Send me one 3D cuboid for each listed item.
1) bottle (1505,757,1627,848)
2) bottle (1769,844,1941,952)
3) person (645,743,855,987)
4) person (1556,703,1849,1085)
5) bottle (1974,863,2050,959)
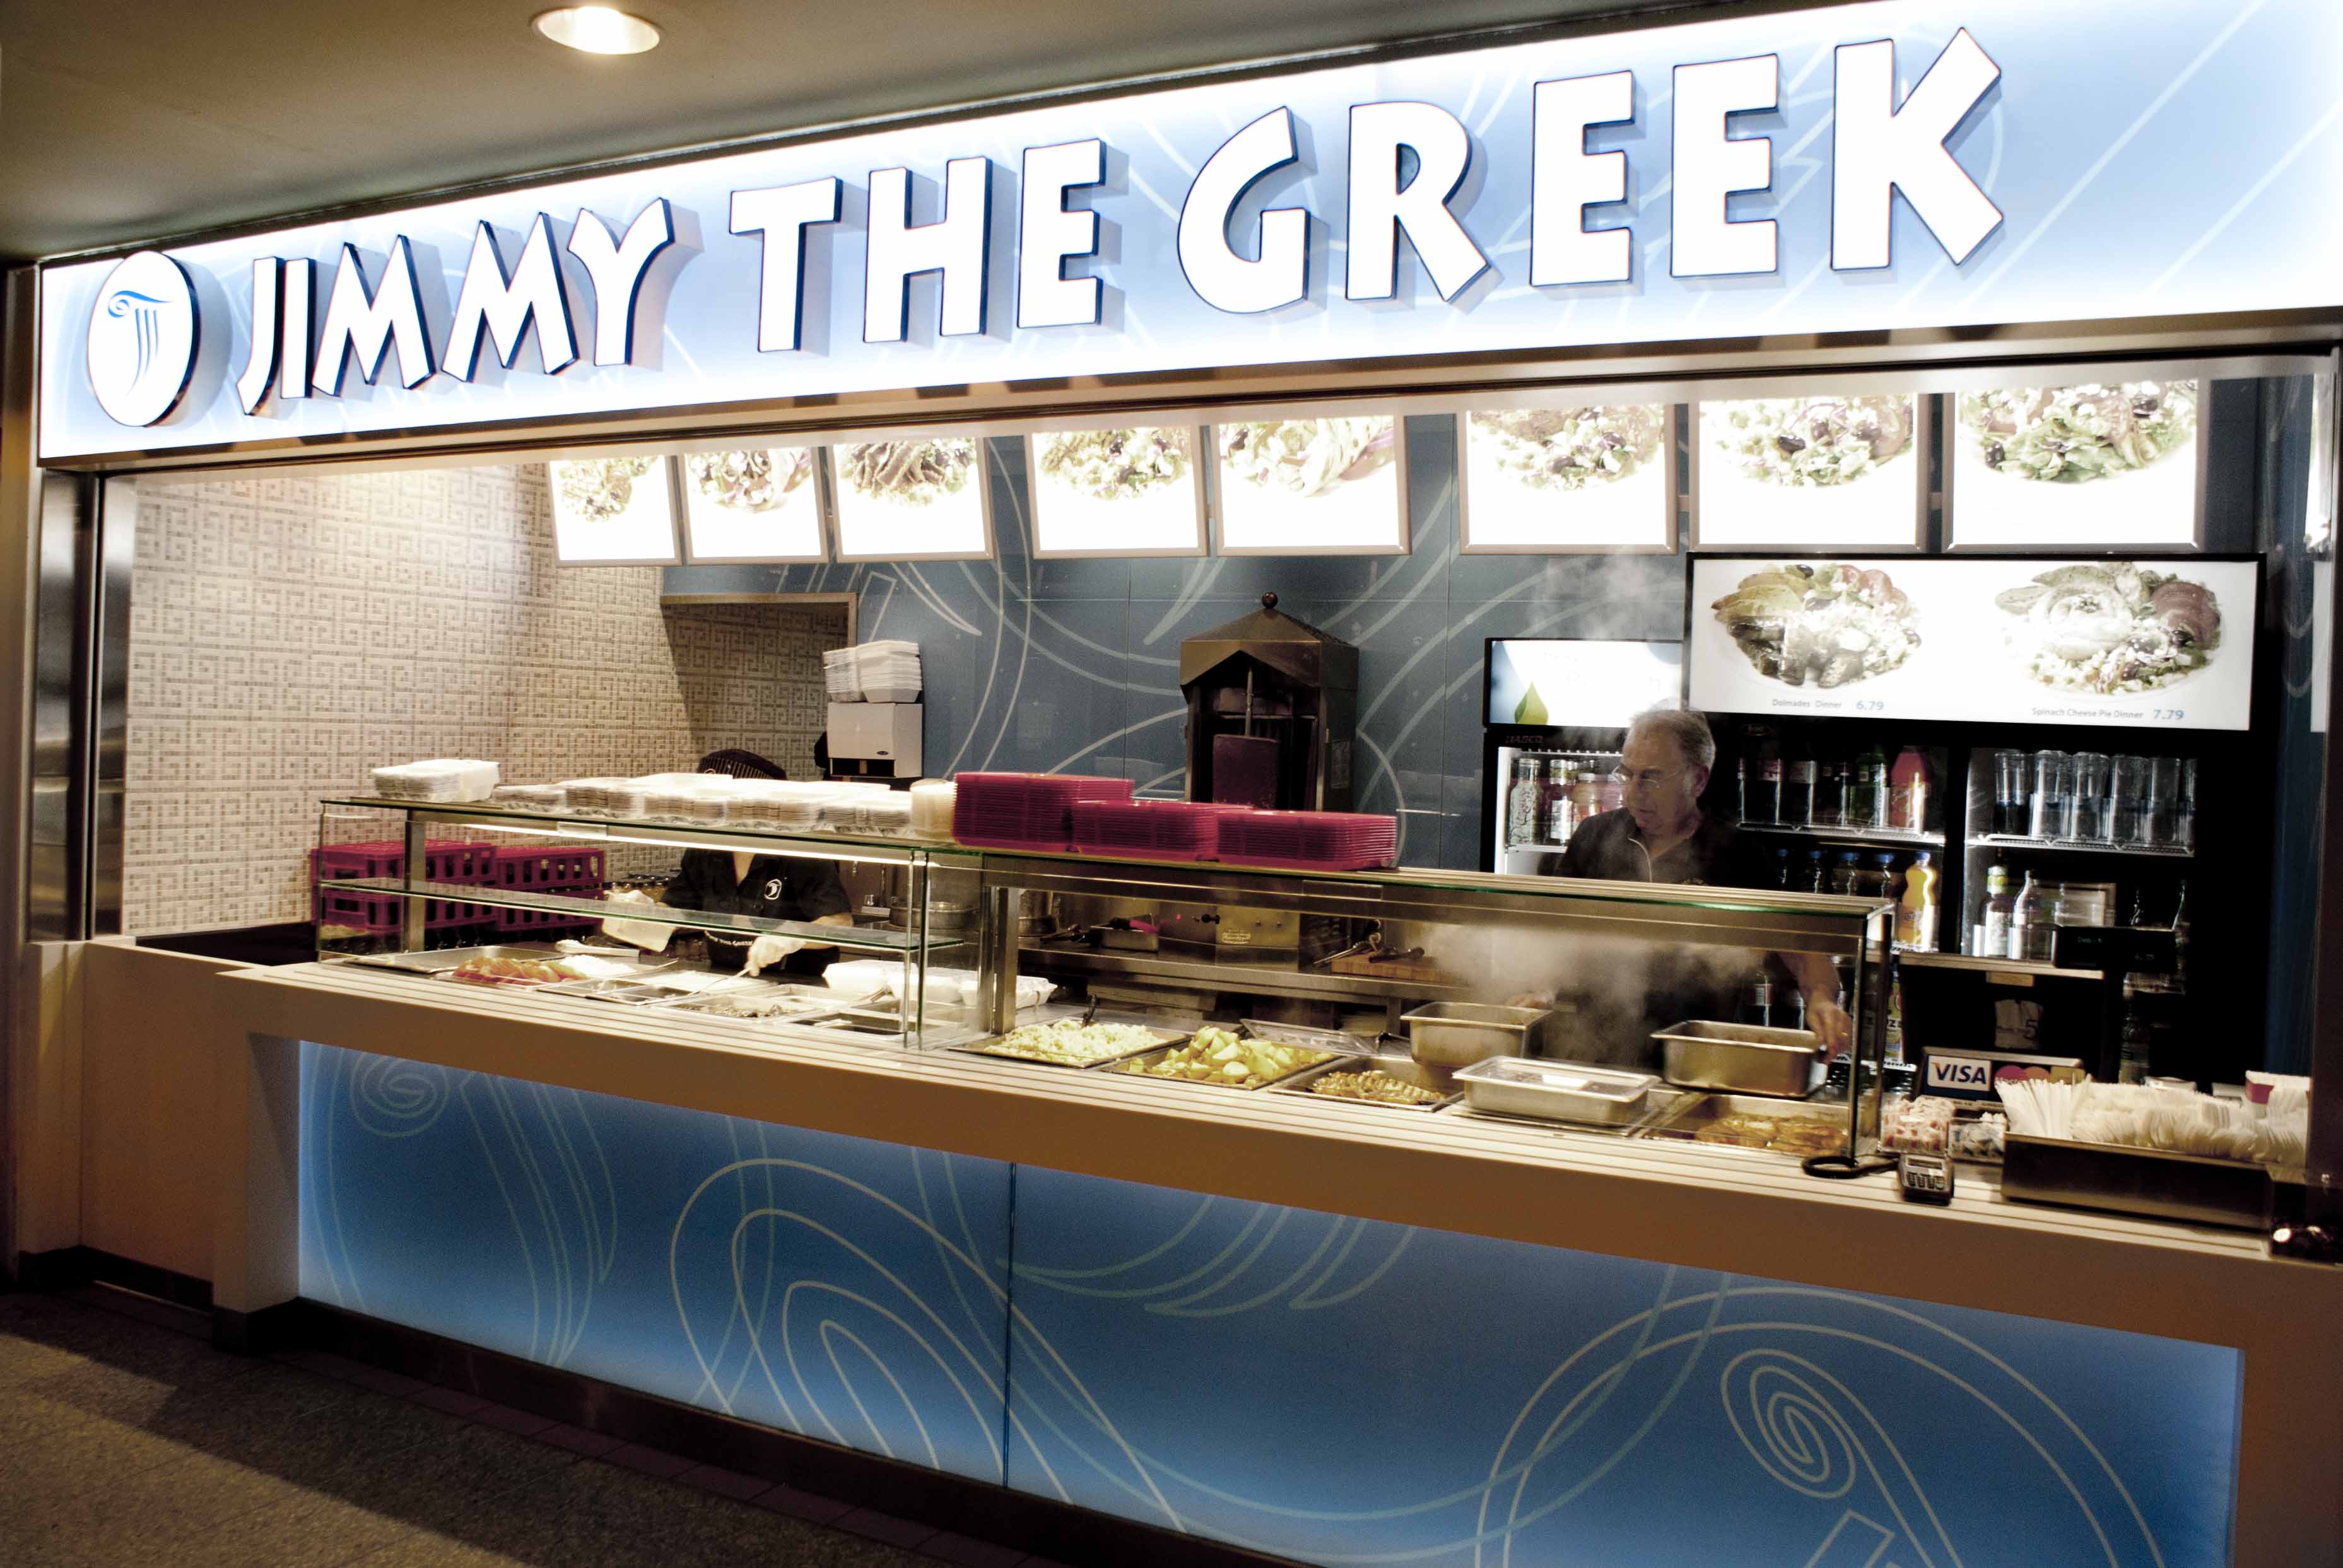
[{"bbox_3d":[1.572,0.066,6.442,0.396,0.308,0.131,5,-8,22],"label":"bottle"},{"bbox_3d":[2.214,0.354,5.200,0.466,0.318,0.142,1,-4,18],"label":"bottle"},{"bbox_3d":[-1.415,0.296,5.499,0.917,0.777,0.517,-1,-5,31],"label":"person"},{"bbox_3d":[1.636,0.323,4.931,0.971,1.191,0.432,-11,-25,40],"label":"person"},{"bbox_3d":[3.148,0.476,6.141,0.247,0.317,0.103,1,2,23],"label":"bottle"}]
